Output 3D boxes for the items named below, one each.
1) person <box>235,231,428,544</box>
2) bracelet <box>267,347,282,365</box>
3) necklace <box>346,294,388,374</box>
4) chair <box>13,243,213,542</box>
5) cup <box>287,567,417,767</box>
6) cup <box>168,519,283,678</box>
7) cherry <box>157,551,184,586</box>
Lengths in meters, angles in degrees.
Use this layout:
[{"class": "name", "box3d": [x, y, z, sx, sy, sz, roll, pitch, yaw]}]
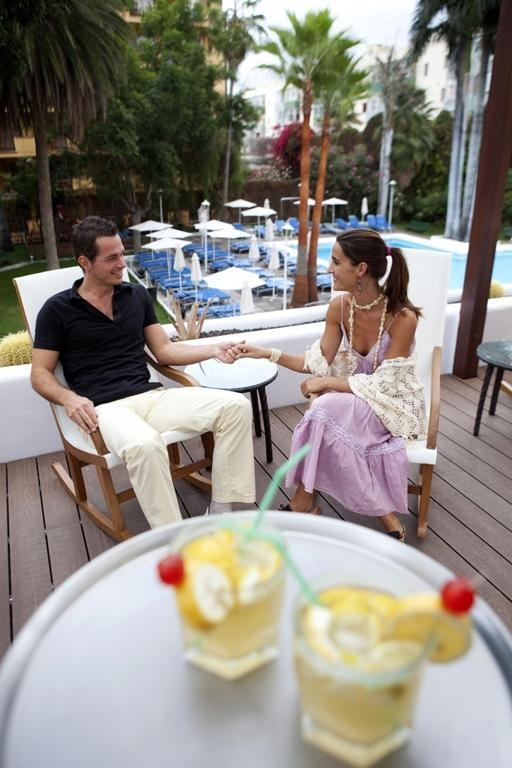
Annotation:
[{"class": "person", "box3d": [0.367, 0.015, 2.086, 0.601, 1.260, 0.485, 3, 15, 19]}, {"class": "bracelet", "box3d": [0.084, -0.131, 2.311, 0.047, 0.046, 0.062, 4, 54, -8]}, {"class": "necklace", "box3d": [0.437, -0.241, 2.091, 0.180, 0.052, 0.517, 0, 42, 13]}, {"class": "chair", "box3d": [-0.552, 0.065, 2.283, 0.629, 0.988, 1.022, -18, 33, -31]}, {"class": "cup", "box3d": [0.116, 0.365, 0.598, 0.145, 0.247, 0.101, 0, 15, 7]}, {"class": "cup", "box3d": [-0.036, 0.310, 0.721, 0.148, 0.306, 0.153, -1, 14, 0]}, {"class": "cherry", "box3d": [-0.109, 0.246, 0.656, 0.026, 0.055, 0.028, -11, 17, -33]}]
